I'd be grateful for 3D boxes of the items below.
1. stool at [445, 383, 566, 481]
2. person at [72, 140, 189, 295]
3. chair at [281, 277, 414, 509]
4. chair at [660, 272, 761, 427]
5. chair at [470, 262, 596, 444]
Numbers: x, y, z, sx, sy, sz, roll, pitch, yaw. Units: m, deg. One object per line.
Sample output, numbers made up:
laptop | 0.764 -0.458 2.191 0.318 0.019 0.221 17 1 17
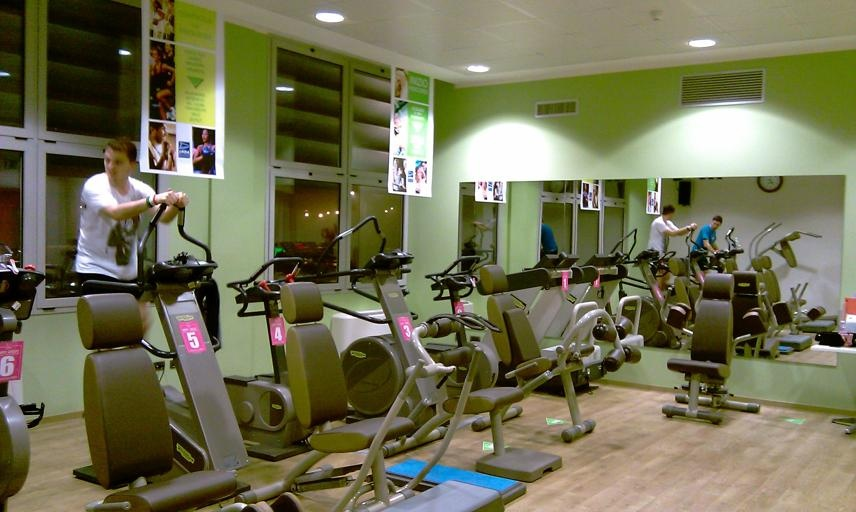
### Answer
stool | 0.681 1.658 5.775 1.050 0.665 0.595 -1 0 37
person | -2.662 -0.393 5.461 1.010 1.296 0.532 5 9 19
chair | -0.585 1.112 4.586 0.784 1.728 1.023 -4 10 -31
chair | 3.374 1.068 7.079 0.819 1.699 1.094 9 11 40
chair | 1.135 0.960 6.211 1.406 1.612 1.180 -2 -4 32
